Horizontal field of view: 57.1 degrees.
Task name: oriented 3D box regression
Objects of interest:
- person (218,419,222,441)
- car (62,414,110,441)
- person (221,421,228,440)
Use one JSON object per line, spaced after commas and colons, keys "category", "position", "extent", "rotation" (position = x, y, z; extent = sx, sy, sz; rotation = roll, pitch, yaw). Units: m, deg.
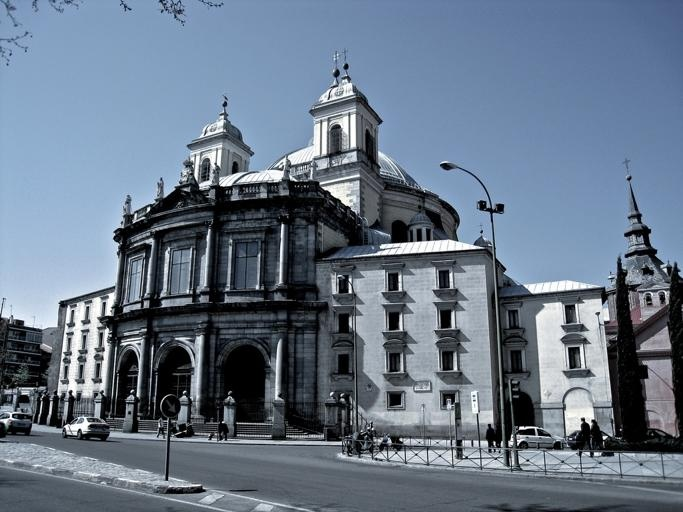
{"category": "person", "position": [-9.008, 12.979, 46.643], "extent": [0.244, 1.177, 0.672], "rotation": [4, -18, -12]}
{"category": "car", "position": [-17.454, 11.752, 42.992], "extent": [3.612, 1.188, 1.689], "rotation": [-11, -22, 40]}
{"category": "person", "position": [-8.765, 13.066, 46.919], "extent": [0.462, 1.282, 1.407], "rotation": [3, -18, -10]}
